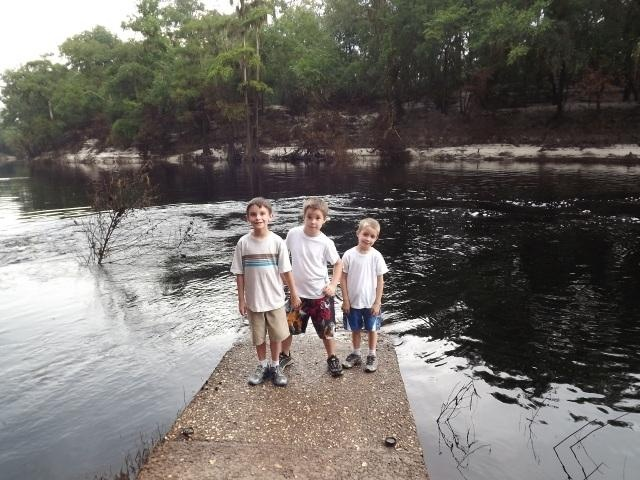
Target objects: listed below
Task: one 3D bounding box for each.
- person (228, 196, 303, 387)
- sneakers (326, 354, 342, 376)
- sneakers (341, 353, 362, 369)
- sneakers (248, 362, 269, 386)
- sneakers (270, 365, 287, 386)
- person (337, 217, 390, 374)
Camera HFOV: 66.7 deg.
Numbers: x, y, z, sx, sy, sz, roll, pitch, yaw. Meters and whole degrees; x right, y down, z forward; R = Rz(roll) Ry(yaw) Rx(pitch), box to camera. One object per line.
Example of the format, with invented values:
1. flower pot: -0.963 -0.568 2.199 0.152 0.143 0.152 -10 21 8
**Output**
1. person: -0.643 0.628 5.884 0.773 2.231 0.574 -7 11 -9
2. sneakers: 0.181 1.582 6.038 0.113 0.133 0.292 -4 4 -11
3. sneakers: 0.415 1.549 6.245 0.117 0.137 0.317 22 13 38
4. sneakers: -0.748 1.648 5.951 0.122 0.131 0.334 10 11 13
5. sneakers: -0.510 1.648 5.928 0.118 0.126 0.295 -8 20 -27
6. person: 0.548 0.691 6.132 0.611 1.892 0.525 -3 11 8
